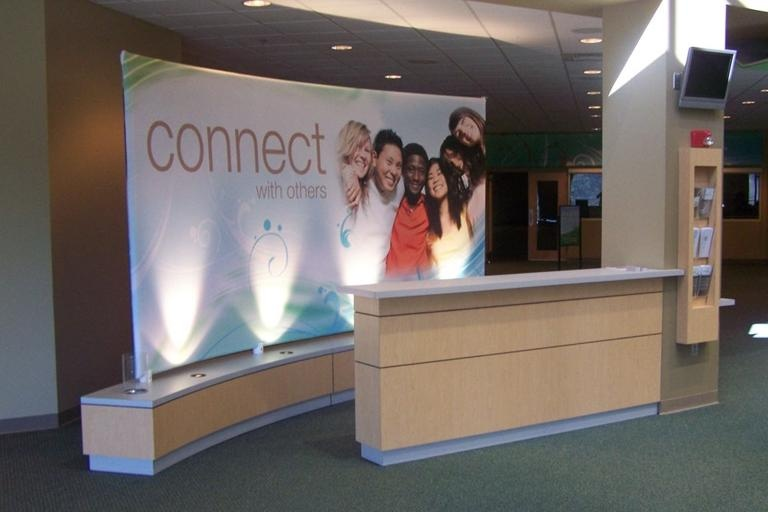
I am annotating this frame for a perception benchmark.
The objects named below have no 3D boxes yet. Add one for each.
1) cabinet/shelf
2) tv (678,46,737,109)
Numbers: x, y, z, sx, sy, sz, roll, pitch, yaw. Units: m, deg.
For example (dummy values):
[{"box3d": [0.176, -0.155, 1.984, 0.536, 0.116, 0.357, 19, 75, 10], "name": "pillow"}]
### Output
[{"box3d": [3.375, -0.030, 6.348, 0.434, 1.966, 0.205, -2, 5, -20], "name": "cabinet/shelf"}, {"box3d": [3.382, -1.905, 6.204, 0.759, 0.827, 0.107, -19, 19, -14], "name": "tv"}]
